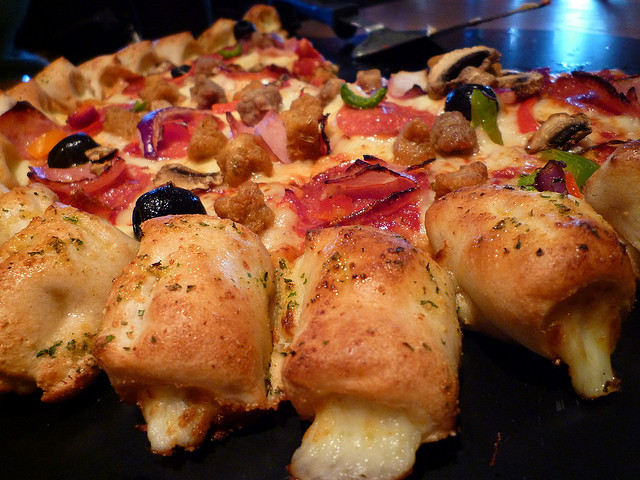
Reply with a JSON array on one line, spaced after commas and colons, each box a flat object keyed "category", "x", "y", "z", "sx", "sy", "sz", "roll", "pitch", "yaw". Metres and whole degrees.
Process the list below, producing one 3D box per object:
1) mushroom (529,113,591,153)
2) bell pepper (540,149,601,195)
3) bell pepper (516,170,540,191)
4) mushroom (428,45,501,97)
[{"category": "mushroom", "x": 1.563, "y": -0.701, "z": 4.521, "sx": 0.372, "sy": 0.192, "sz": 0.215, "roll": -16, "pitch": 43, "yaw": -5}, {"category": "bell pepper", "x": 1.507, "y": -0.442, "z": 4.228, "sx": 0.347, "sy": 0.096, "sz": 0.267, "roll": 19, "pitch": 50, "yaw": 29}, {"category": "bell pepper", "x": 1.276, "y": -0.370, "z": 4.210, "sx": 0.152, "sy": 0.042, "sz": 0.144, "roll": -19, "pitch": 31, "yaw": 0}, {"category": "mushroom", "x": 1.099, "y": -1.249, "z": 5.232, "sx": 0.538, "sy": 0.219, "sz": 0.538, "roll": 0, "pitch": 43, "yaw": 13}]
